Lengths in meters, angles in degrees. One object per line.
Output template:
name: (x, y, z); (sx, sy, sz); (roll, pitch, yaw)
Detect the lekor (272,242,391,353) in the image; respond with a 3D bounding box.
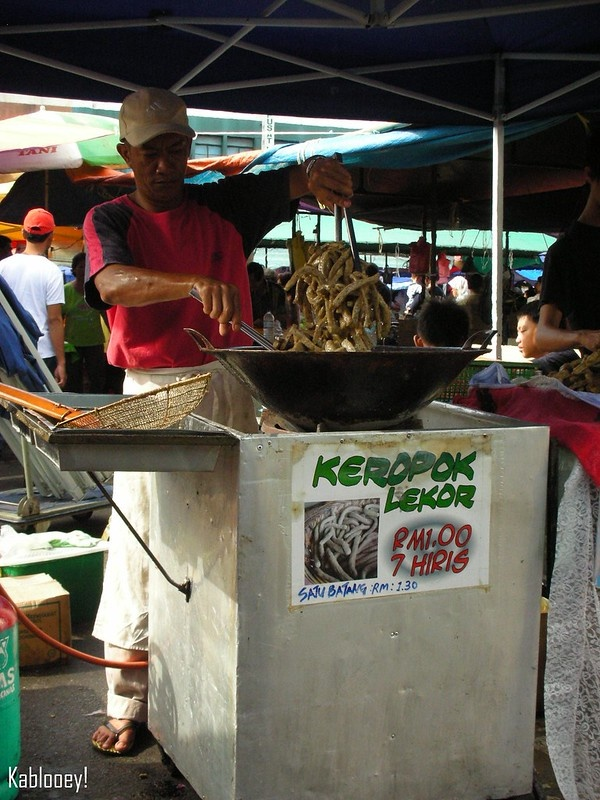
lekor: (0.112, -0.268, 2.122); (0.315, 0.334, 0.151); (-3, -3, -4)

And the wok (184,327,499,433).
wok: (0.134, -0.076, 2.088); (0.751, 0.247, 0.782); (6, 9, 39)

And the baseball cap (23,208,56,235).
baseball cap: (-2.214, -1.519, 6.500); (0.211, 0.152, 0.292); (-1, 29, -12)

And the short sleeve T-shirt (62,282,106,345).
short sleeve T-shirt: (-2.291, -0.913, 8.134); (0.609, 0.655, 0.375); (-7, 26, -33)

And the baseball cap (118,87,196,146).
baseball cap: (-0.465, -0.932, 2.486); (0.252, 0.140, 0.287); (-18, 35, -19)
